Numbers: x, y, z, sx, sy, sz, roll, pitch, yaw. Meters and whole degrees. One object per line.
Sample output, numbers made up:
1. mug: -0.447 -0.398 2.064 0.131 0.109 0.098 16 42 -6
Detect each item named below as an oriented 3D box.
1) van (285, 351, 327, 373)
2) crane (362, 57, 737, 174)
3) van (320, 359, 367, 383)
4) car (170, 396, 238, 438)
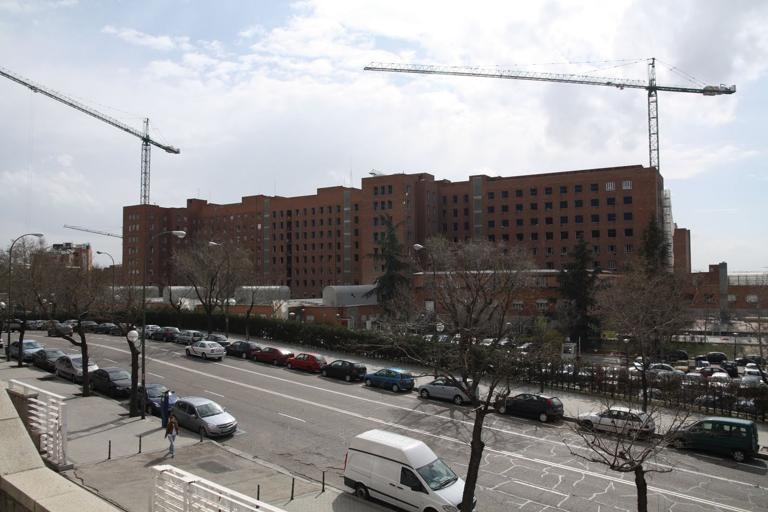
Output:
1. van: -6.867 9.823 67.446 2.901 1.427 1.720 7 1 32
2. crane: 9.042 -8.779 41.870 21.276 9.694 1.454 7 -40 10
3. van: -3.329 10.313 65.148 2.954 1.365 1.850 7 -2 22
4. car: -12.988 11.424 52.676 5.223 2.223 2.794 4 5 34
